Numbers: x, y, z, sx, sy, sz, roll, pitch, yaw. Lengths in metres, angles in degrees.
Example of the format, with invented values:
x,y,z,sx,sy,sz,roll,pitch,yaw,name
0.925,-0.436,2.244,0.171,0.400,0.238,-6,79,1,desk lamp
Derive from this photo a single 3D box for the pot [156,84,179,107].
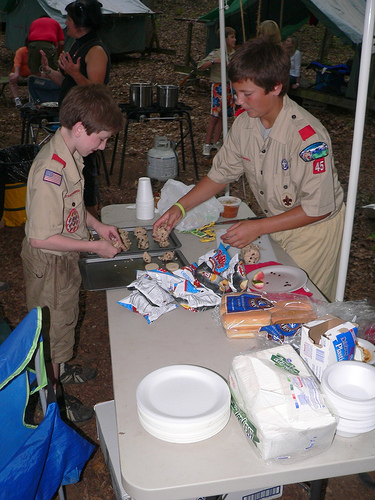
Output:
x,y,z,sx,sy,sz,roll,pitch,yaw,name
-0.248,-1.900,5.126,0.271,0.280,0.297,1,13,0,pot

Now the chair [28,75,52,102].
x,y,z,sx,sy,sz,roll,pitch,yaw,name
-1.746,-1.958,5.047,0.191,0.300,0.207,-5,55,-19,chair

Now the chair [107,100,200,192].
x,y,z,sx,sy,sz,roll,pitch,yaw,name
-0.434,-1.452,5.643,1.084,0.924,0.863,-5,23,-19,chair

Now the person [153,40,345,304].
x,y,z,sx,sy,sz,roll,pitch,yaw,name
0.338,-0.308,2.069,0.808,1.256,0.714,7,15,22,person

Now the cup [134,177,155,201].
x,y,z,sx,sy,sz,roll,pitch,yaw,name
-0.238,-0.344,2.330,0.089,0.125,0.179,0,13,-6,cup

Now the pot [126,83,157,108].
x,y,z,sx,sy,sz,roll,pitch,yaw,name
-0.579,-1.861,5.153,0.439,0.275,0.270,0,31,-3,pot

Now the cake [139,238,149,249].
x,y,z,sx,sy,sz,roll,pitch,yaw,name
-0.208,-0.032,1.966,0.041,0.049,0.016,-5,3,-2,cake

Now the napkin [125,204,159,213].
x,y,z,sx,sy,sz,roll,pitch,yaw,name
-0.262,-0.245,2.452,0.230,0.030,0.068,8,14,26,napkin
